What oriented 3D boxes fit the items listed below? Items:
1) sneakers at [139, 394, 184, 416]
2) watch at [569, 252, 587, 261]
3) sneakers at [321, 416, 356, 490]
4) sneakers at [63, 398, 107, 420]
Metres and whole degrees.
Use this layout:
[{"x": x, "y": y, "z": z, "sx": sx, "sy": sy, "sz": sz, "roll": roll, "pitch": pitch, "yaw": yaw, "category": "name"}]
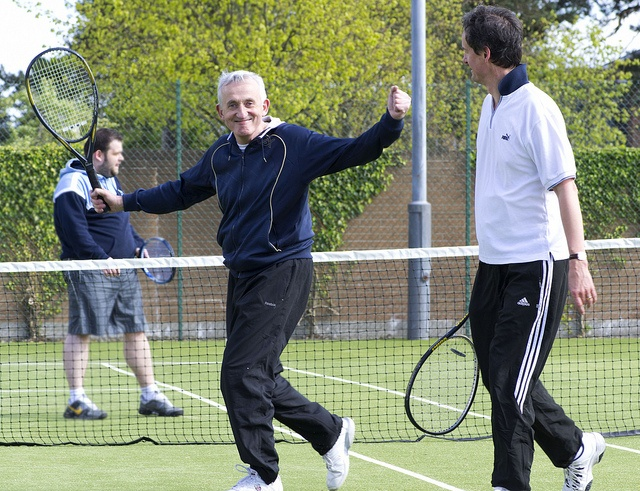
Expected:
[{"x": -1.544, "y": 1.543, "z": 9.672, "sx": 0.424, "sy": 0.236, "sz": 0.167, "roll": 1, "pitch": -3, "yaw": -2, "category": "sneakers"}, {"x": 1.851, "y": 0.073, "z": 7.082, "sx": 0.089, "sy": 0.066, "sz": 0.098, "roll": 1, "pitch": -6, "yaw": -14, "category": "watch"}, {"x": 0.166, "y": 1.645, "z": 7.894, "sx": 0.223, "sy": 0.625, "sz": 0.192, "roll": -3, "pitch": 10, "yaw": -16, "category": "sneakers"}, {"x": -2.248, "y": 1.553, "z": 9.547, "sx": 0.411, "sy": 0.214, "sz": 0.167, "roll": 1, "pitch": -2, "yaw": 4, "category": "sneakers"}]
